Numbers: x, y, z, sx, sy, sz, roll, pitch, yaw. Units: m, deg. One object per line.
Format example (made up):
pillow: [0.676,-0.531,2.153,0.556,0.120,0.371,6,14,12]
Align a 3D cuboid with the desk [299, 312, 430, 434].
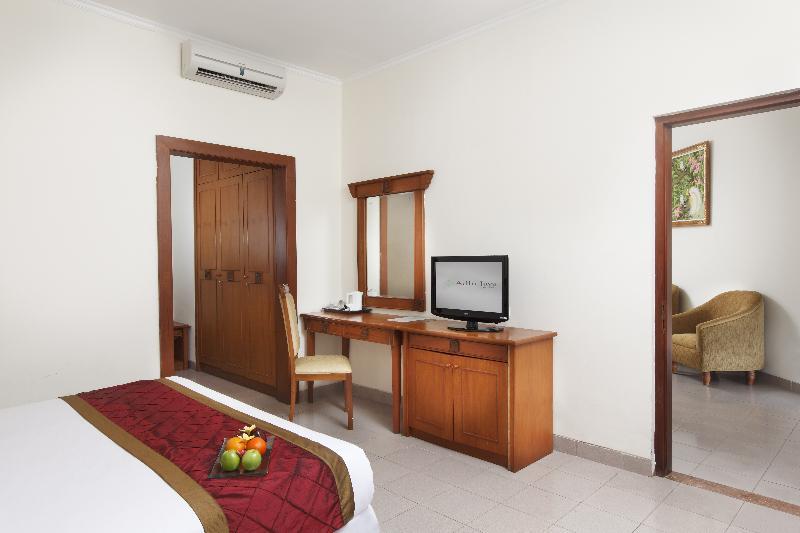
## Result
desk: [-0.350,1.099,5.214,0.408,0.696,1.120,1,-1,-38]

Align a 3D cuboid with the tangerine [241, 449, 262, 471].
tangerine: [-0.838,1.092,2.883,0.129,0.116,0.081,-6,10,-28]

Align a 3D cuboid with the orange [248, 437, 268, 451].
orange: [-0.830,1.040,2.953,0.081,0.084,0.084,-6,7,-30]

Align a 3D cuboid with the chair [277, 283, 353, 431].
chair: [-0.863,0.929,5.317,0.917,1.365,0.928,1,0,10]

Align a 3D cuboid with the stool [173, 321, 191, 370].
stool: [-2.998,1.092,6.998,0.226,0.594,0.403,-5,10,-25]

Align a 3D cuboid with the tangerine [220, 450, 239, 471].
tangerine: [-0.963,1.093,2.862,0.117,0.118,0.071,-3,9,-12]

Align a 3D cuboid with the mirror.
mirror: [-0.064,-0.268,5.559,1.522,1.875,0.142,3,5,41]

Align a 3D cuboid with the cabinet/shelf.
cabinet/shelf: [0.712,1.138,4.771,1.320,1.122,0.812,0,-1,42]

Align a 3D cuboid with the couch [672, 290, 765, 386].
couch: [4.016,0.864,6.464,0.988,1.074,1.081,-4,0,-3]
